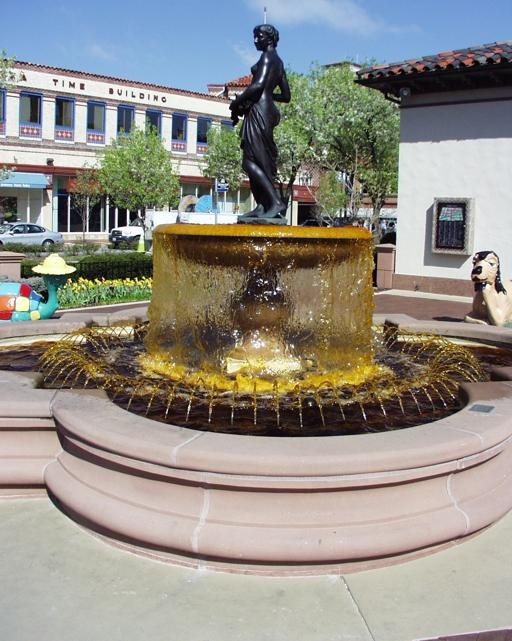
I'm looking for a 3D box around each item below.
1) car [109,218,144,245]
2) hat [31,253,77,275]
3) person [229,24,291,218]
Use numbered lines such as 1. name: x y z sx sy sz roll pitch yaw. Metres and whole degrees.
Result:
1. car: -7.968 -5.503 35.027 1.771 1.591 3.242 5 8 41
2. hat: -2.782 -0.762 7.803 0.466 0.181 0.446 2 12 -6
3. person: 0.037 -2.153 6.228 0.648 2.076 0.942 2 11 0
